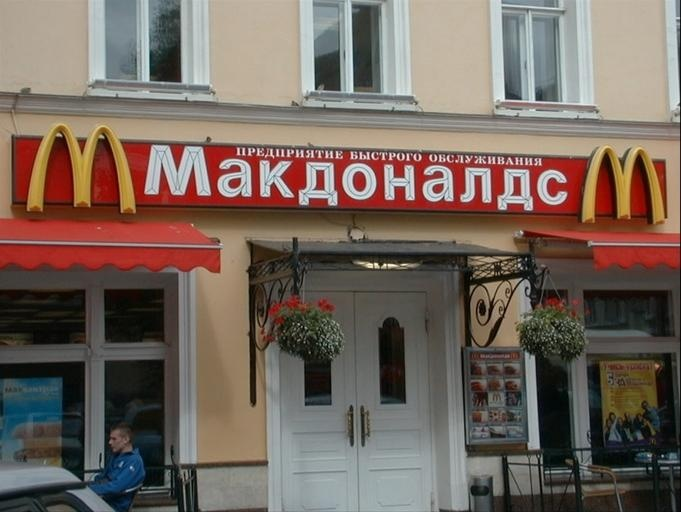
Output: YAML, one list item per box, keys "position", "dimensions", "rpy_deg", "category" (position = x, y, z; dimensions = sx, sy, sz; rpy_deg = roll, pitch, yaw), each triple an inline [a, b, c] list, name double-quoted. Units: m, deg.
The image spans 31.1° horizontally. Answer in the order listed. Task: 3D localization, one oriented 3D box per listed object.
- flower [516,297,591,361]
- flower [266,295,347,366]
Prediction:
- position: [2.863, 1.011, 16.652]
  dimensions: [0.807, 0.895, 0.854]
  rpy_deg: [-8, -9, 26]
  category: "flower"
- position: [-0.413, 0.873, 15.957]
  dimensions: [1.000, 0.962, 0.877]
  rpy_deg: [-17, 17, -32]
  category: "flower"
